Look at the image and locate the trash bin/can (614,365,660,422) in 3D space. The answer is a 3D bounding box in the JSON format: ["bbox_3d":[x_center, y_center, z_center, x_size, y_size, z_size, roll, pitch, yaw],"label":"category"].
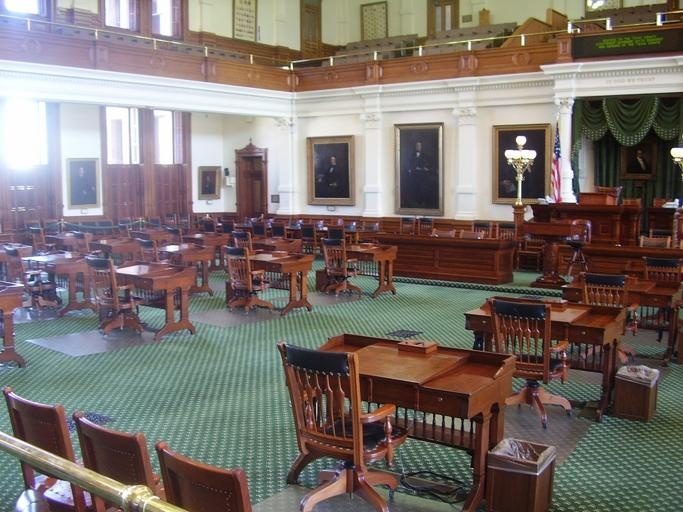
[{"bbox_3d":[2.939,1.336,4.761,0.333,0.437,0.517,6,11,42],"label":"trash bin/can"}]

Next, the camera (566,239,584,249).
[{"bbox_3d":[4.809,-0.241,9.903,0.251,0.076,0.228,-1,9,-1],"label":"camera"}]

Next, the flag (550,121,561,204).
[{"bbox_3d":[5.674,-2.479,12.629,0.272,2.075,1.519,3,9,23],"label":"flag"}]

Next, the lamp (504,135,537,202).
[{"bbox_3d":[4.488,-2.103,12.042,0.985,1.672,0.872,-2,7,-9],"label":"lamp"}]
